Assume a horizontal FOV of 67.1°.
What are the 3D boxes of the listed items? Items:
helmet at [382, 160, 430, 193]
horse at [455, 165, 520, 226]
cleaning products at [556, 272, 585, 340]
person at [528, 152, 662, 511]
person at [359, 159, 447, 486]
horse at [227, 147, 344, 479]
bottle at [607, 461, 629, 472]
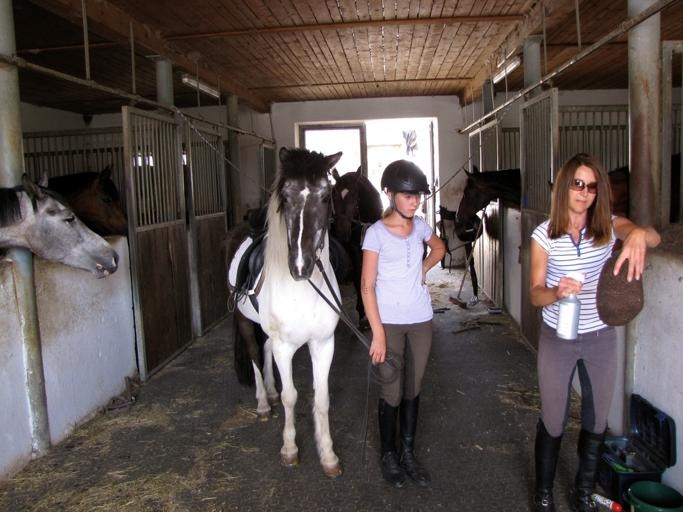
[{"bbox_3d":[0.404,-0.471,3.147,0.245,0.166,0.182,5,11,39],"label":"helmet"},{"bbox_3d":[2.055,-0.732,6.554,0.327,0.812,1.295,2,0,-40],"label":"horse"},{"bbox_3d":[1.253,0.330,2.826,0.098,0.307,0.172,9,16,44],"label":"cleaning products"},{"bbox_3d":[1.374,0.503,2.959,0.589,2.124,0.388,-4,11,-12],"label":"person"},{"bbox_3d":[0.395,0.445,3.325,0.517,2.092,0.347,-2,11,0],"label":"person"},{"bbox_3d":[-0.422,0.304,3.819,0.537,2.184,1.321,-7,13,-25],"label":"horse"},{"bbox_3d":[1.674,1.282,3.119,0.052,0.020,0.057,1,8,-16],"label":"bottle"}]
